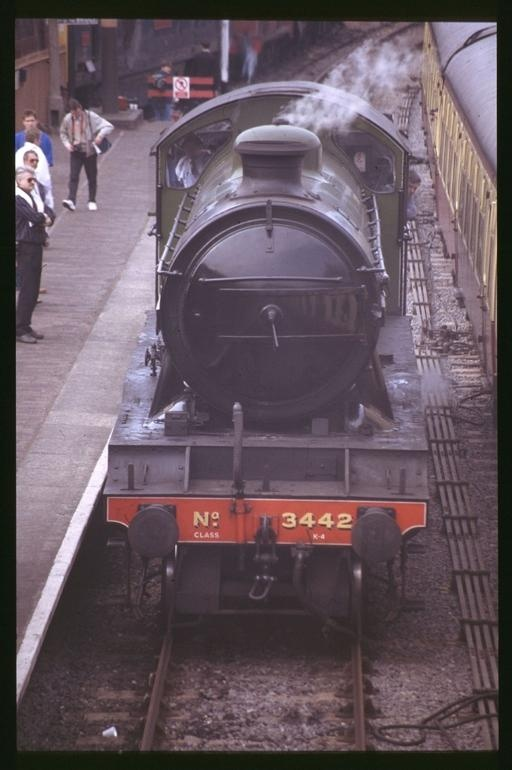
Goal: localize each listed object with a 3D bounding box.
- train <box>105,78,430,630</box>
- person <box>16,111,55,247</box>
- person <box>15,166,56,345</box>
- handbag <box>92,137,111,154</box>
[{"bbox_3d":[0.096,-0.218,5.537,1.898,3.447,2.369,0,13,6],"label":"train"},{"bbox_3d":[-2.442,-2.279,9.484,0.369,1.534,0.467,-4,46,-14],"label":"person"},{"bbox_3d":[-2.271,-1.266,8.777,0.379,1.813,0.881,-5,13,-17],"label":"person"},{"bbox_3d":[-2.137,-3.321,12.005,0.219,0.358,0.294,1,3,0],"label":"handbag"}]
